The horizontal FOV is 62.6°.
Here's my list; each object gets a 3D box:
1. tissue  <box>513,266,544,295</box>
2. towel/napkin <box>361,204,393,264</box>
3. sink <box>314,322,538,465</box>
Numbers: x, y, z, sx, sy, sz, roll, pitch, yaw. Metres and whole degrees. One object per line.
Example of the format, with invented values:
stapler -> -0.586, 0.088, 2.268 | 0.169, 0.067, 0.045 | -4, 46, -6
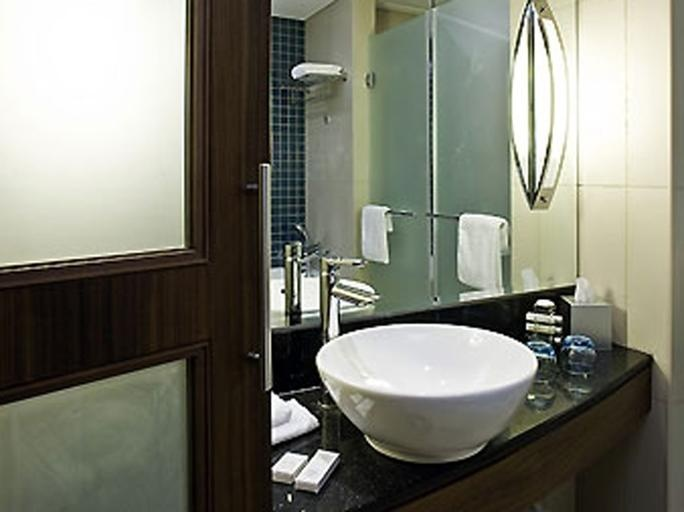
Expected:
tissue  -> 0.658, 0.077, 1.977 | 0.088, 0.095, 0.021 | 18, -3, -31
towel/napkin -> 0.102, -0.063, 1.640 | 0.119, 0.173, 0.026 | -9, 10, -41
sink -> 0.190, 0.290, 1.294 | 0.493, 0.163, 0.448 | -5, 10, -16
